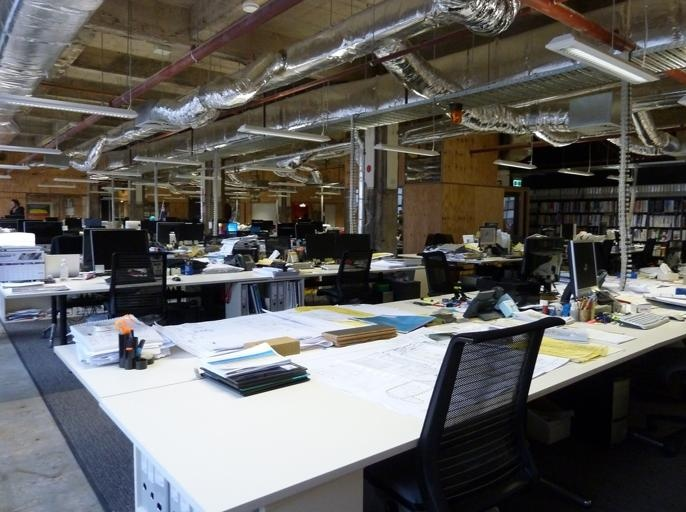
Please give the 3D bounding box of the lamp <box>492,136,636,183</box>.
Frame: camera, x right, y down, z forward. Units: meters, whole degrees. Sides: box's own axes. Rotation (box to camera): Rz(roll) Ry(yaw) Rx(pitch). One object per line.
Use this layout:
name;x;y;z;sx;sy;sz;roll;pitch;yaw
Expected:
lamp;6.348;-2.944;14.227;2.899;0.524;2.801;-3;5;-27

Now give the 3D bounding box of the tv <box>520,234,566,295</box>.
tv;2.291;0.046;5.466;0.669;0.437;0.227;-2;9;-36

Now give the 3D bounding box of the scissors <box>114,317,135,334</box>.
scissors;-1.261;0.406;2.793;0.118;0.043;0.148;-4;11;-37

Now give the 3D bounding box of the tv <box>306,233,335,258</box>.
tv;-0.329;-0.150;7.010;0.472;0.331;0.224;-1;0;-25

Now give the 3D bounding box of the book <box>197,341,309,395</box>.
book;-0.465;0.585;2.503;0.310;0.072;0.291;5;5;44

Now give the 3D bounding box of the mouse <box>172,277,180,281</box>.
mouse;-1.898;0.257;5.497;0.055;0.048;0.247;-1;4;-31
